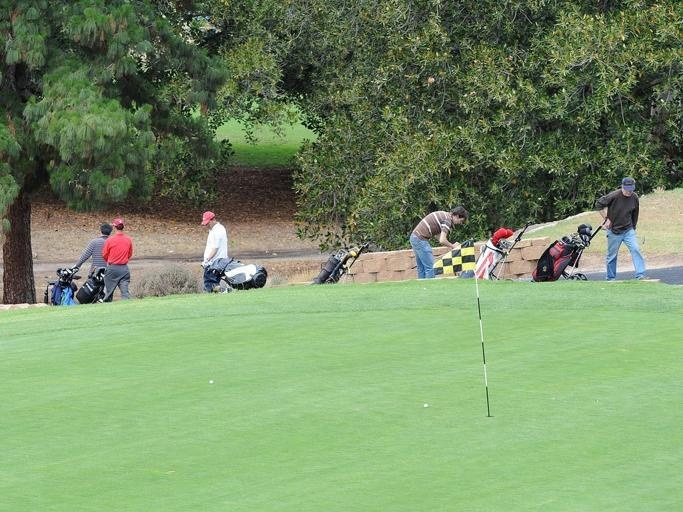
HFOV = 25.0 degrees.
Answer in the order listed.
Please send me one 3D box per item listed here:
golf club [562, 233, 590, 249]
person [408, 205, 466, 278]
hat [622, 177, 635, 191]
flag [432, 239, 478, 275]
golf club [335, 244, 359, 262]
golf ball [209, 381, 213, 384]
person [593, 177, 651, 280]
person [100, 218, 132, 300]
[{"bbox_3d":[4.538,-0.278,30.024,0.378,0.188,0.489,1,4,4],"label":"golf club"},{"bbox_3d":[1.924,-0.281,31.874,0.992,0.572,1.670,-6,-34,-5],"label":"person"},{"bbox_3d":[5.568,-1.388,30.042,0.238,0.157,0.343,2,11,7],"label":"hat"},{"bbox_3d":[2.233,0.055,30.639,0.944,0.831,0.091,2,34,7],"label":"flag"},{"bbox_3d":[0.106,-0.042,29.946,0.261,0.149,0.428,-40,13,-36],"label":"golf club"},{"bbox_3d":[-1.999,1.902,23.412,0.062,0.037,0.082,-2,1,-5],"label":"golf ball"},{"bbox_3d":[5.481,-0.535,30.404,0.896,2.006,1.275,-2,1,11],"label":"person"},{"bbox_3d":[-4.656,0.077,31.744,0.598,1.336,1.229,-2,1,-8],"label":"person"}]
